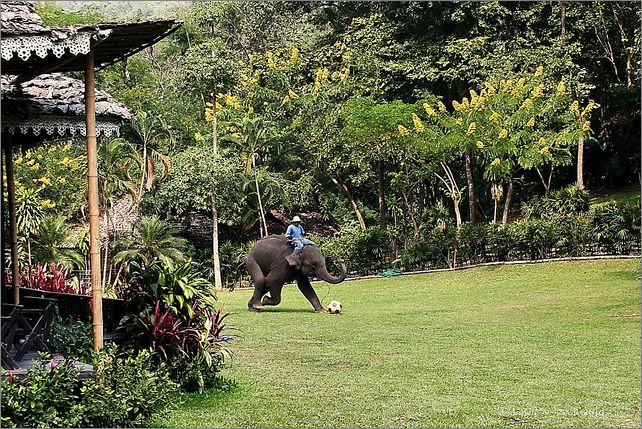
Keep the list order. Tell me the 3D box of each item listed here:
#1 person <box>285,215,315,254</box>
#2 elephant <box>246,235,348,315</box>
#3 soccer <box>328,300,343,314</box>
[{"bbox_3d":[-0.595,0.644,25.372,1.020,1.236,0.813,-4,1,2],"label":"person"},{"bbox_3d":[-0.840,1.874,25.264,4.039,2.333,1.784,2,3,37],"label":"elephant"},{"bbox_3d":[0.432,2.742,24.143,0.411,0.366,0.688,-1,10,0],"label":"soccer"}]
